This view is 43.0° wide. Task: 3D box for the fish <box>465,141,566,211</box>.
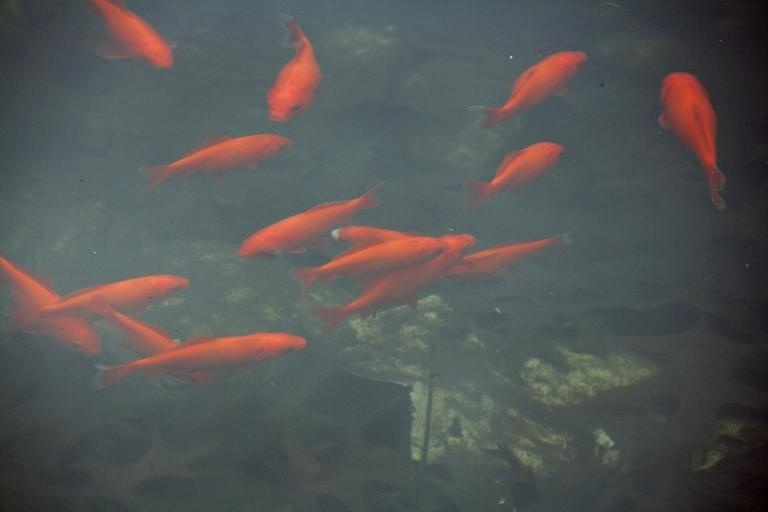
[{"bbox_3d":[1.109,-0.687,8.154,0.871,0.268,0.388,-25,72,16],"label":"fish"}]
